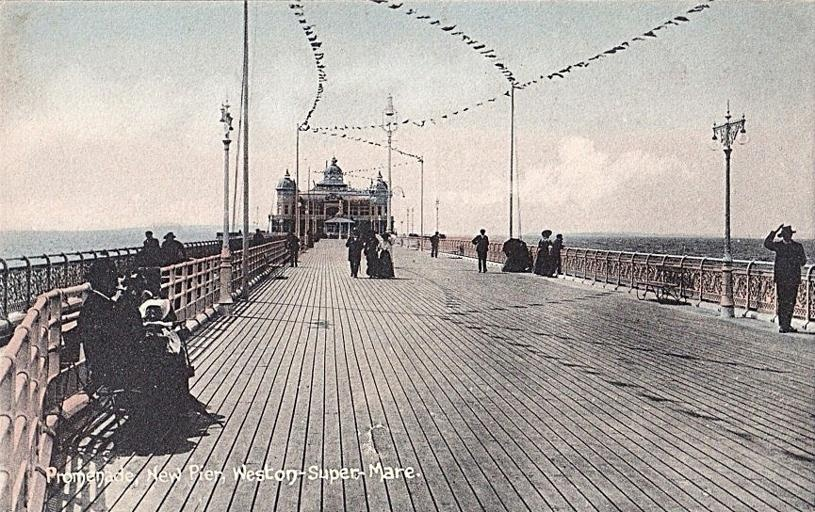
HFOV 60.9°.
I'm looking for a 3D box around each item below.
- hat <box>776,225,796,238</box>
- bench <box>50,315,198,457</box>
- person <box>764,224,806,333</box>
[{"bbox_3d":[6.607,-0.434,12.157,0.255,0.309,0.119,0,33,25],"label":"hat"},{"bbox_3d":[-3.364,1.663,9.003,0.607,1.789,1.165,-3,-7,29],"label":"bench"},{"bbox_3d":[8.365,0.495,15.449,0.810,2.391,0.429,1,6,3],"label":"person"}]
